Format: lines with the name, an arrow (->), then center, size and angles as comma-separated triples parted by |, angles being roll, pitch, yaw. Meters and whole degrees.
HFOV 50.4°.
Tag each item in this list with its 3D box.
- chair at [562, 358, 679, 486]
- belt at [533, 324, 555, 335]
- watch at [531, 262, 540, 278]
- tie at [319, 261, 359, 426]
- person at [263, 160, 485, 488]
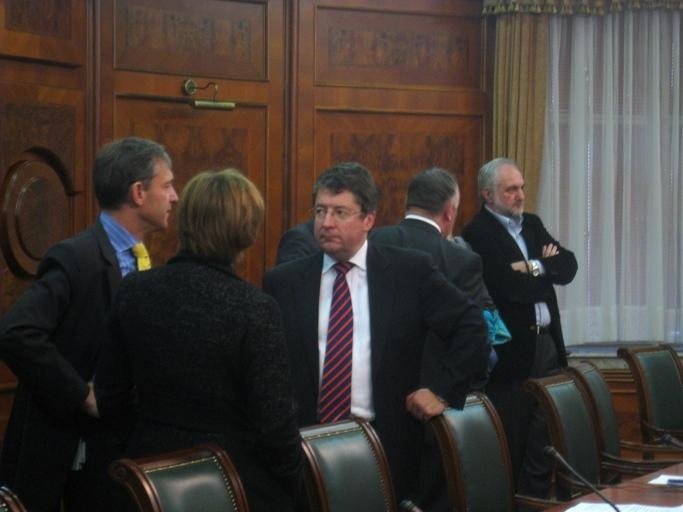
chair -> 1.394, 0.783, 3.810 | 0.583, 0.945, 0.528 | -3, -2, 21
belt -> 1.210, 0.435, 4.318 | 0.067, 0.059, 0.066 | -1, -1, -40
watch -> 1.146, 0.080, 4.239 | 0.049, 0.083, 0.021 | 2, -9, 4
tie -> -0.018, 0.354, 2.998 | 0.156, 0.643, 0.113 | -3, 2, -1
person -> 0.097, 0.601, 3.221 | 0.968, 2.039, 0.551 | 2, 25, 10
